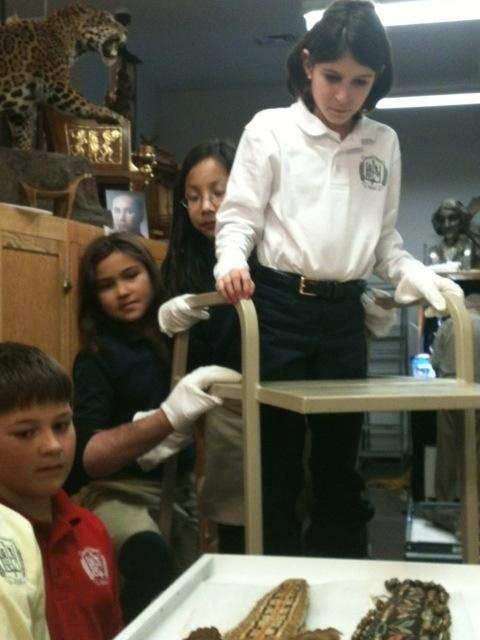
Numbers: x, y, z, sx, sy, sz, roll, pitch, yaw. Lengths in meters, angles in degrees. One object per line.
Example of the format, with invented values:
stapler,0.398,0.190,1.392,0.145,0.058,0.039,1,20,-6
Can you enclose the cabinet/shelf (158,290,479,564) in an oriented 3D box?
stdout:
cabinet/shelf,0.142,0.125,1.265,0.456,0.447,0.592,-1,2,-14

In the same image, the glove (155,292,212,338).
glove,-0.119,-0.011,1.513,0.109,0.037,0.080,-9,-43,41

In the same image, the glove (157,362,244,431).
glove,-0.071,0.156,1.498,0.103,0.141,0.055,52,12,31

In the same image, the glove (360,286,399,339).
glove,0.329,-0.021,1.684,0.059,0.087,0.127,-9,-32,38
